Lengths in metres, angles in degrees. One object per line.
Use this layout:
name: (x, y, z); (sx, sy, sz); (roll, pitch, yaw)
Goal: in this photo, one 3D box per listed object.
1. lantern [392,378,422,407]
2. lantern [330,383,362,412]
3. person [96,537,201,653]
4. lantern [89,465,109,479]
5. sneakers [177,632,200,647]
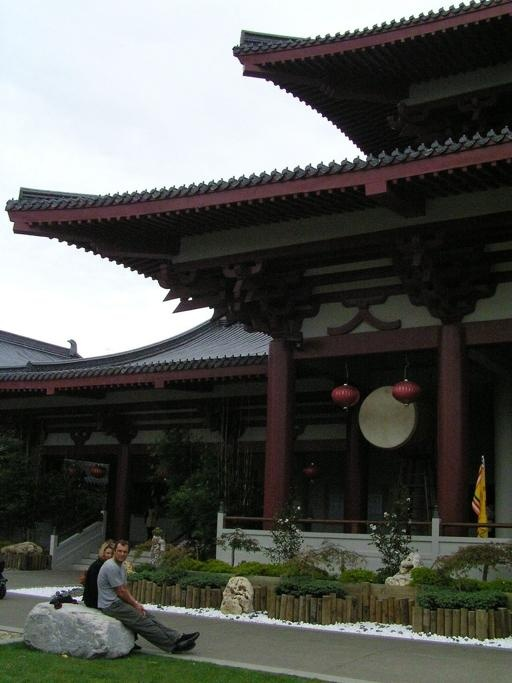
lantern: (2.256, 0.794, 10.823); (0.414, 0.372, 0.384); (2, -17, -7)
lantern: (1.464, 0.957, 11.735); (0.511, 0.487, 0.500); (0, -14, 1)
person: (-0.952, 2.234, 6.014); (0.838, 0.794, 0.272); (4, -14, -8)
lantern: (-4.133, 3.448, 18.541); (0.400, 0.355, 0.401); (0, -10, 2)
sneakers: (-0.571, 2.541, 6.012); (0.241, 0.099, 0.075); (-7, -19, -15)
